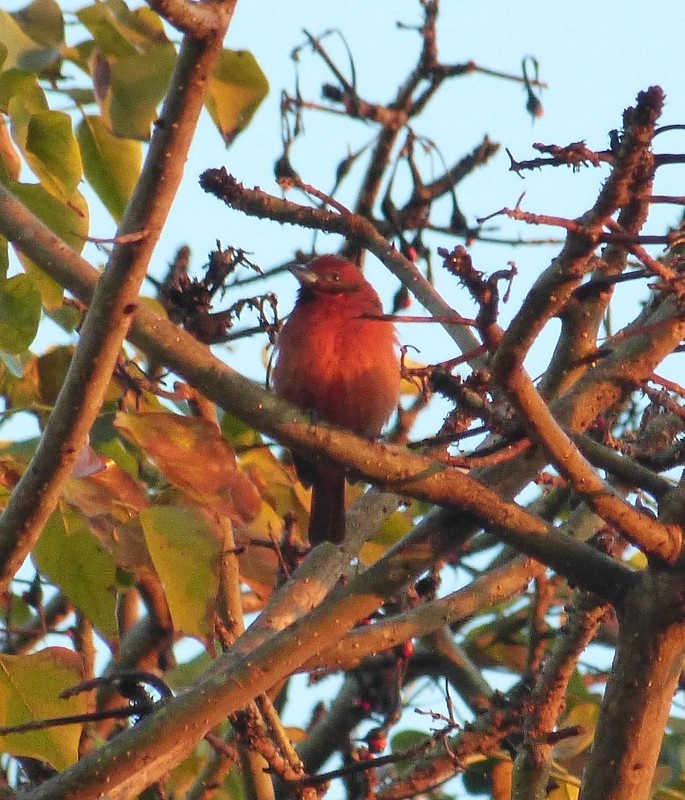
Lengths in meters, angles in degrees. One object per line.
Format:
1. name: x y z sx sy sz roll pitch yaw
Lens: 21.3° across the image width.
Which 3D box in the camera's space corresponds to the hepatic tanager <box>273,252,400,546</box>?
1. hepatic tanager: -0.022 -0.135 6.066 0.298 0.411 1.175 -1 -80 -6
